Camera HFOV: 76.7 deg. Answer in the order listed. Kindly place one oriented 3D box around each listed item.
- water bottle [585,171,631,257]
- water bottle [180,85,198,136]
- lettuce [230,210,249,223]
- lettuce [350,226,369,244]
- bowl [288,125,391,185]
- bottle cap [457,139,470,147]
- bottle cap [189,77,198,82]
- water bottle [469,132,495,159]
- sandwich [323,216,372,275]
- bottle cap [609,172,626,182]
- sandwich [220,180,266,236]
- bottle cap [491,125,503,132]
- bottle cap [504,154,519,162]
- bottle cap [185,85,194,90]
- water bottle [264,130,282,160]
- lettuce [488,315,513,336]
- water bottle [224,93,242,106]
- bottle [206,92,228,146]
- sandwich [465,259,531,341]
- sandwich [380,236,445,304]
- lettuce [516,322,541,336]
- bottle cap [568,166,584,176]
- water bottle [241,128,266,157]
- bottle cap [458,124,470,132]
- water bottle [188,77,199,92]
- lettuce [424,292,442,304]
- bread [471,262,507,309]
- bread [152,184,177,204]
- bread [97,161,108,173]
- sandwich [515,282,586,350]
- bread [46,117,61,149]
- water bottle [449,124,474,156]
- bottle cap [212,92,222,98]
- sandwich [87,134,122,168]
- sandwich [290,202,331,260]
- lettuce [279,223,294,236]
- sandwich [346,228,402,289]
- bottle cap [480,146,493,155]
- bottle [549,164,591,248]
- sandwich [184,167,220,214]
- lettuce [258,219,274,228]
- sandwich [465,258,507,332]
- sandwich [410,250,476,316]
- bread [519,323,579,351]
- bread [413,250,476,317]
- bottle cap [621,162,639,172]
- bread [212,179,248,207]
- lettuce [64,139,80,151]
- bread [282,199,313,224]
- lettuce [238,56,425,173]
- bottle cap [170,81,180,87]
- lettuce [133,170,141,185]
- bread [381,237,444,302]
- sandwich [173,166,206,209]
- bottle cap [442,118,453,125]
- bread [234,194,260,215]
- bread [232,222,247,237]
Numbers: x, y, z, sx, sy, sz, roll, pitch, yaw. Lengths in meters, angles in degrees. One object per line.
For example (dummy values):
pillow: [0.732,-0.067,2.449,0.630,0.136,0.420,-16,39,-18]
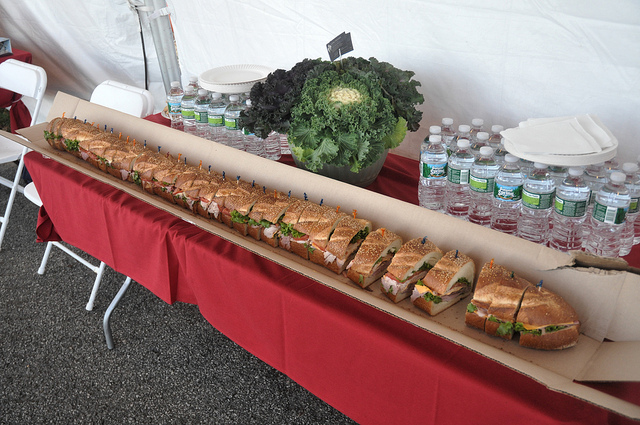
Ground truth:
water bottle: [1.027,0.010,1.423,0.109,0.311,0.204,16,19,36]
water bottle: [-0.743,-0.595,2.398,0.118,0.312,0.121,3,15,-1]
lettuce: [-0.341,0.017,1.689,0.054,0.026,0.054,0,-17,3]
lettuce: [0.150,0.085,1.556,0.052,0.030,0.068,23,49,34]
bowl: [0.064,-0.229,1.752,0.305,0.141,0.297,0,34,0]
bottle cap: [0.559,-0.270,1.571,0.031,0.018,0.032,12,33,19]
bottle cap: [-0.730,-0.770,2.327,0.029,0.018,0.029,7,19,18]
water bottle: [0.667,-0.272,1.654,0.062,0.115,0.063,-6,53,8]
sandwich: [0.095,0.088,1.592,0.124,0.106,0.330,26,35,15]
bottle cap: [0.990,-0.121,1.334,0.034,0.018,0.034,15,27,41]
sandwich: [-0.335,-0.039,1.776,0.132,0.078,0.259,16,43,13]
bottle cap: [0.732,-0.352,1.662,0.040,0.016,0.041,5,27,12]
bottle cap: [0.707,-0.201,1.494,0.032,0.018,0.032,15,33,30]
bottle cap: [-0.761,-0.720,2.318,0.058,0.028,0.040,16,19,34]
water bottle: [-0.251,-0.360,2.118,0.077,0.121,0.079,-2,11,0]
lettuce: [0.577,0.355,1.279,0.055,0.021,0.056,8,29,26]
water bottle: [-0.457,-0.596,2.115,0.067,0.069,0.017,-5,-9,28]
bottle: [-0.555,-0.488,2.192,0.108,0.302,0.112,2,15,-1]
sandwich: [0.577,0.281,1.299,0.172,0.240,0.079,19,-21,29]
sandwich: [0.353,0.199,1.501,0.289,0.172,0.113,-18,39,-37]
lettuce: [0.646,0.355,1.234,0.037,0.018,0.049,4,23,2]
bottle cap: [0.893,-0.146,1.407,0.044,0.029,0.057,15,18,33]
water bottle: [-0.349,-0.364,2.129,0.142,0.153,0.143,-6,40,-7]
bottle cap: [0.609,-0.356,1.685,0.045,0.023,0.046,0,30,-1]
water bottle: [-0.735,-0.750,2.374,0.069,0.078,0.069,0,36,-10]
lettuce: [0.384,0.290,1.370,0.040,0.016,0.040,18,25,9]
bread: [0.577,0.233,1.368,0.083,0.159,0.048,17,-22,41]
bread: [-0.746,-0.084,1.929,0.100,0.031,0.099,33,3,34]
bread: [-1.145,-0.239,2.148,0.061,0.046,0.061,-17,40,-34]
sandwich: [0.747,0.339,1.285,0.192,0.179,0.201,16,19,36]
bread: [-1.565,-0.464,2.364,0.114,0.152,0.075,8,-2,22]
water bottle: [0.598,-0.300,1.703,0.084,0.141,0.089,-5,41,4]
bottle cap: [-0.536,-0.607,2.087,0.032,0.021,0.032,-6,23,-12]
sandwich: [-1.129,-0.324,2.199,0.198,0.079,0.273,0,22,-39]
sandwich: [-0.031,0.065,1.650,0.117,0.222,0.068,22,-11,29]
lettuce: [-0.142,0.068,1.613,0.043,0.044,0.019,16,38,-10]
sandwich: [0.217,0.157,1.545,0.125,0.162,0.259,31,42,28]
bottle cap: [0.638,-0.240,1.537,0.033,0.018,0.034,10,33,20]
bottle: [0.924,-0.012,1.471,0.117,0.329,0.199,15,18,34]
sandwich: [-0.532,-0.100,1.894,0.128,0.190,0.061,26,-7,19]
lettuce: [-0.224,0.044,1.644,0.039,0.016,0.037,16,21,26]
sandwich: [0.568,0.273,1.373,0.086,0.206,0.184,13,17,29]
sandwich: [0.451,0.237,1.429,0.244,0.168,0.112,-19,31,-28]
bread: [0.728,0.417,1.348,0.176,0.080,0.235,-3,-20,17]
bread: [0.460,0.238,1.445,0.265,0.186,0.093,-16,31,-36]
bottle cap: [1.084,-0.158,1.407,0.053,0.019,0.053,-14,24,-20]
bread: [-0.360,-0.076,1.788,0.177,0.058,0.101,28,12,36]
lettuce: [-1.373,-0.375,2.227,0.062,0.031,0.062,-1,24,-21]
bread: [-0.092,-0.017,1.639,0.063,0.038,0.125,16,53,38]
lettuce: [0.061,-0.431,1.698,0.562,0.228,0.571,26,47,29]
bottle cap: [-0.874,-0.763,2.397,0.063,0.023,0.064,6,21,16]
lettuce: [-0.914,-0.173,2.002,0.038,0.065,0.015,0,5,40]
bread: [0.348,0.199,1.497,0.290,0.174,0.114,-22,37,-36]
sandwich: [-0.603,-0.110,1.925,0.126,0.175,0.054,24,-7,24]
bottle cap: [0.571,-0.412,1.803,0.044,0.020,0.045,9,32,15]
bread: [-0.312,-0.040,1.701,0.066,0.024,0.094,21,55,29]
bread: [-0.335,0.075,1.722,0.082,0.047,0.056,5,-8,36]
